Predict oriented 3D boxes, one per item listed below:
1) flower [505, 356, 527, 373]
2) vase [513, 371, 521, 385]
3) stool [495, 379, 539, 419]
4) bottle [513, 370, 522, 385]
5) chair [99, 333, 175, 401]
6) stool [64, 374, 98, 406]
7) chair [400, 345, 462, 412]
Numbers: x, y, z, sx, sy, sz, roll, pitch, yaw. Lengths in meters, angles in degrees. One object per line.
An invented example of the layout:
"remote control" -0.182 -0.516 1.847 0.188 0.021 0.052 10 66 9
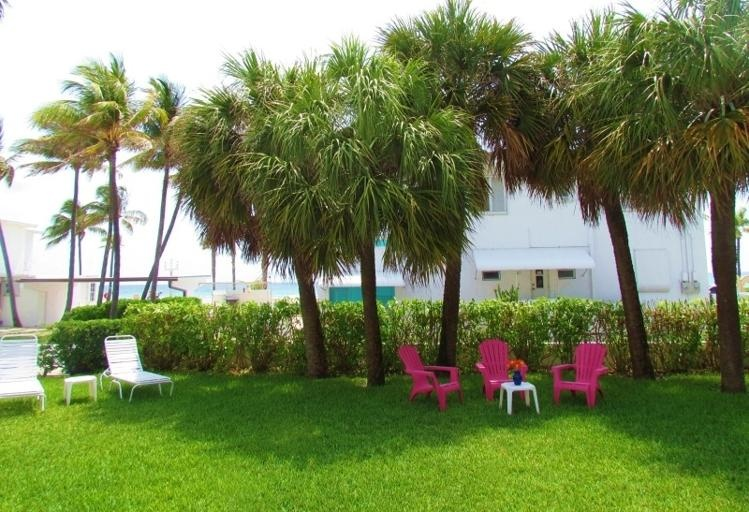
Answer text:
"flower" 3.730 3.059 15.861 0.568 0.729 0.640 -1 -2 14
"vase" 3.545 3.017 14.768 0.220 0.352 0.248 3 -5 -6
"stool" 3.525 3.519 14.851 0.740 0.724 0.841 -1 -5 -2
"bottle" 3.526 3.016 14.831 0.239 0.384 0.272 -1 -1 13
"chair" -6.804 3.124 17.552 1.388 2.037 2.626 1 -2 -41
"stool" -8.029 3.541 16.445 0.822 0.750 0.732 2 -5 -27
"chair" 1.474 3.217 15.844 1.399 1.585 1.326 -1 -3 30
